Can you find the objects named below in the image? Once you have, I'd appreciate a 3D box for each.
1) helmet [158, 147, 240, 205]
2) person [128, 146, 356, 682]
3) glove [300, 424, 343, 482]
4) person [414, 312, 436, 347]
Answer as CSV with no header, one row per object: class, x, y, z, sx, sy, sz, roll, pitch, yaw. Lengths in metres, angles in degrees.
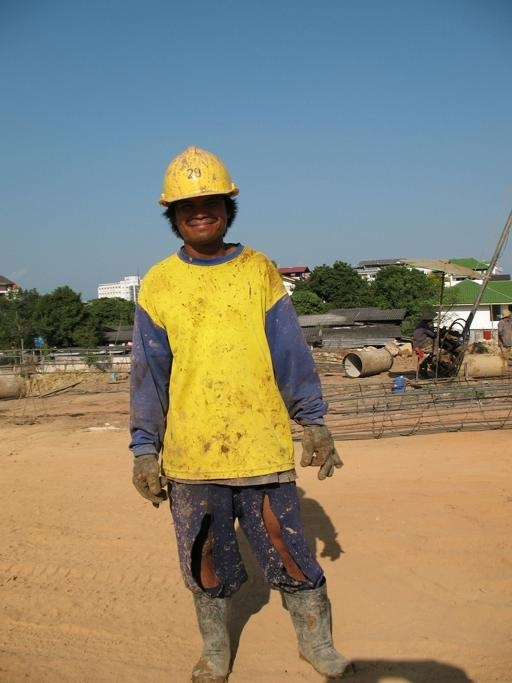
helmet,-0.247,-0.679,2.804,0.347,0.181,0.357,-2,15,16
person,-0.064,0.313,2.752,0.859,2.157,0.327,2,4,-9
glove,0.242,0.451,2.812,0.234,0.191,0.097,-1,-6,-14
person,3.521,-0.219,14.617,0.427,0.740,1.130,3,3,12
